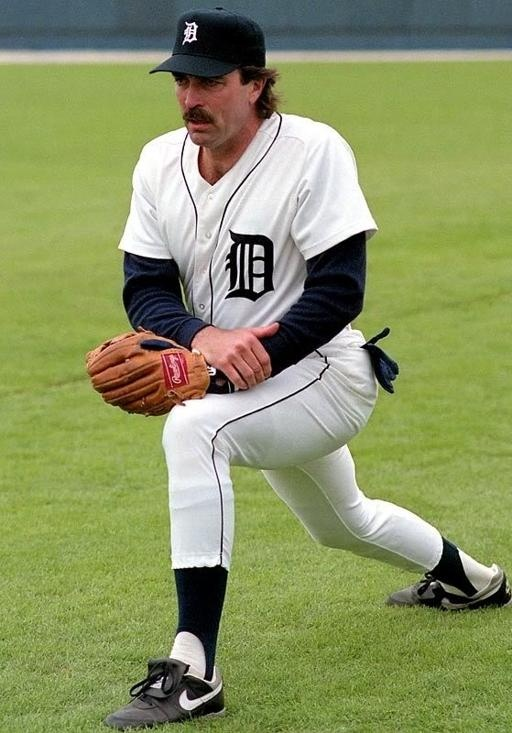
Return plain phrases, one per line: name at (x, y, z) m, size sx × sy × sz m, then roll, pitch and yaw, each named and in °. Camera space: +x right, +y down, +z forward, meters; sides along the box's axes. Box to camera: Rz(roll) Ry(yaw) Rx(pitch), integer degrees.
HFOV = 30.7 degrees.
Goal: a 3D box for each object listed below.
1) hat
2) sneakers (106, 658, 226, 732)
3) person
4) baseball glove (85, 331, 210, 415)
hat at (-0.103, -0.773, 2.242) m, size 0.264 × 0.123 × 0.184 m, roll -13°, pitch 23°, yaw -40°
sneakers at (-0.186, 0.717, 2.056) m, size 0.270 × 0.103 × 0.117 m, roll -1°, pitch -2°, yaw -15°
person at (-0.027, -0.042, 2.360) m, size 1.202 × 1.667 × 0.579 m, roll -12°, pitch 14°, yaw -43°
baseball glove at (-0.305, 0.028, 2.197) m, size 0.267 × 0.088 × 0.199 m, roll -1°, pitch 41°, yaw -51°
